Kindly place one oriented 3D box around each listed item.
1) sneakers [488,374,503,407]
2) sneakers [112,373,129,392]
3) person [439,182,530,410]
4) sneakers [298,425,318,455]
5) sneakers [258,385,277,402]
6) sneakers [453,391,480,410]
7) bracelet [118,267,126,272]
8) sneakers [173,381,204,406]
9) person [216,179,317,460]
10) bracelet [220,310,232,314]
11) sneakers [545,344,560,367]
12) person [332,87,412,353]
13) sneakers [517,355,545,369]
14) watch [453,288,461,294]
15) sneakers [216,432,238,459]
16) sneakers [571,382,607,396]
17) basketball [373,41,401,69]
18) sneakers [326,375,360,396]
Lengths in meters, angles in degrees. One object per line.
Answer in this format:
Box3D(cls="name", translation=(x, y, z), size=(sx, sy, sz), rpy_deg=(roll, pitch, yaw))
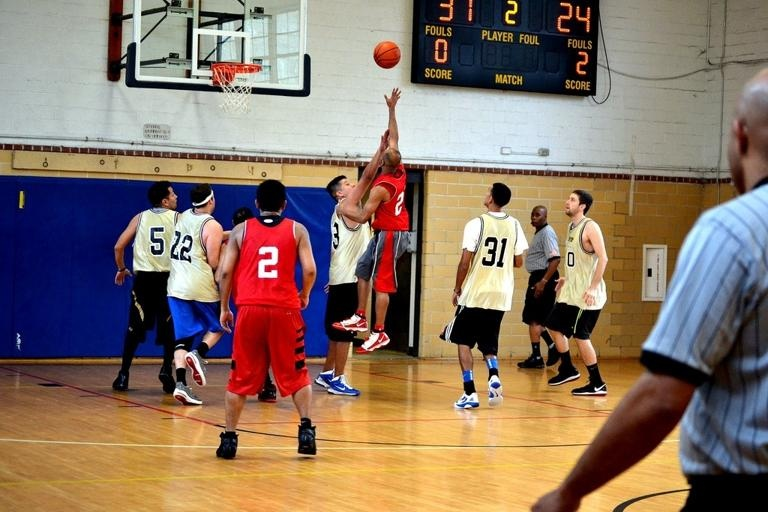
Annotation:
Box3D(cls="sneakers", translation=(1.264, 1.563, 9.174), size=(0.147, 0.394, 0.182), rpy_deg=(-1, 44, 2))
Box3D(cls="sneakers", translation=(-3.296, 1.538, 9.950), size=(0.111, 0.239, 0.340), rpy_deg=(2, 8, -25))
Box3D(cls="person", translation=(1.106, 0.460, 9.230), size=(0.793, 2.362, 0.353), rpy_deg=(2, 0, 4))
Box3D(cls="sneakers", translation=(-0.654, 1.543, 6.900), size=(0.108, 0.149, 0.330), rpy_deg=(1, 1, 0))
Box3D(cls="sneakers", translation=(-1.365, 1.594, 9.362), size=(0.155, 0.188, 0.434), rpy_deg=(0, 2, -4))
Box3D(cls="sneakers", translation=(0.918, 1.677, 9.427), size=(0.139, 0.191, 0.374), rpy_deg=(-3, 2, -41))
Box3D(cls="bracelet", translation=(-3.284, 0.165, 10.066), size=(0.080, 0.038, 0.050), rpy_deg=(-13, 26, 15))
Box3D(cls="sneakers", translation=(-2.222, 1.550, 9.101), size=(0.168, 0.207, 0.437), rpy_deg=(-12, -35, 37))
Box3D(cls="person", translation=(-0.987, 0.530, 6.820), size=(0.845, 2.292, 0.491), rpy_deg=(2, 0, -2))
Box3D(cls="bracelet", translation=(-1.476, 0.514, 7.444), size=(0.073, 0.037, 0.057), rpy_deg=(-4, 0, 12))
Box3D(cls="sneakers", translation=(2.789, 1.630, 13.258), size=(0.163, 0.216, 0.497), rpy_deg=(-8, -26, -4))
Box3D(cls="person", translation=(-0.056, -0.444, 9.571), size=(0.878, 2.948, 0.653), rpy_deg=(2, 0, -32))
Box3D(cls="sneakers", translation=(2.402, 1.741, 13.349), size=(0.504, 0.249, 0.194), rpy_deg=(2, 0, 9))
Box3D(cls="watch", translation=(0.834, 0.385, 9.158), size=(0.063, 0.056, 0.087), rpy_deg=(2, 0, 2))
Box3D(cls="sneakers", translation=(-1.320, 1.585, 6.732), size=(0.104, 0.148, 0.319), rpy_deg=(1, 1, -10))
Box3D(cls="sneakers", translation=(2.667, 1.700, 10.520), size=(0.480, 0.204, 0.176), rpy_deg=(1, -3, 4))
Box3D(cls="basketball", translation=(0.034, -2.711, 10.771), size=(0.301, 0.353, 0.368), rpy_deg=(2, 0, 7))
Box3D(cls="sneakers", translation=(-0.540, 1.614, 10.104), size=(0.502, 0.310, 0.186), rpy_deg=(3, 0, -4))
